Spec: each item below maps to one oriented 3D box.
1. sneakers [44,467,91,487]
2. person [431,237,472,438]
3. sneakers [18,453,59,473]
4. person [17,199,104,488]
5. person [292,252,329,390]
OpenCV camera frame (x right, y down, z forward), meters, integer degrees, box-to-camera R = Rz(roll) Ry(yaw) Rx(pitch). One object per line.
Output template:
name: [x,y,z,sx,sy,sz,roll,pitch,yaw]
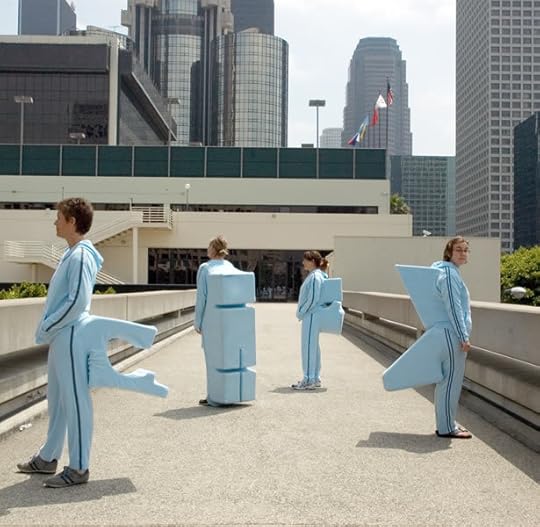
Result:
sneakers: [-1.397,1.471,5.224,0.283,0.169,0.113,3,-8,-12]
person: [1.621,0.649,6.640,0.363,1.727,0.496,2,5,11]
sneakers: [-1.659,1.460,5.496,0.282,0.168,0.127,7,-7,2]
person: [-1.420,0.546,5.360,0.490,1.986,0.515,6,7,44]
person: [0.503,0.698,9.213,0.360,1.685,1.084,2,6,5]
